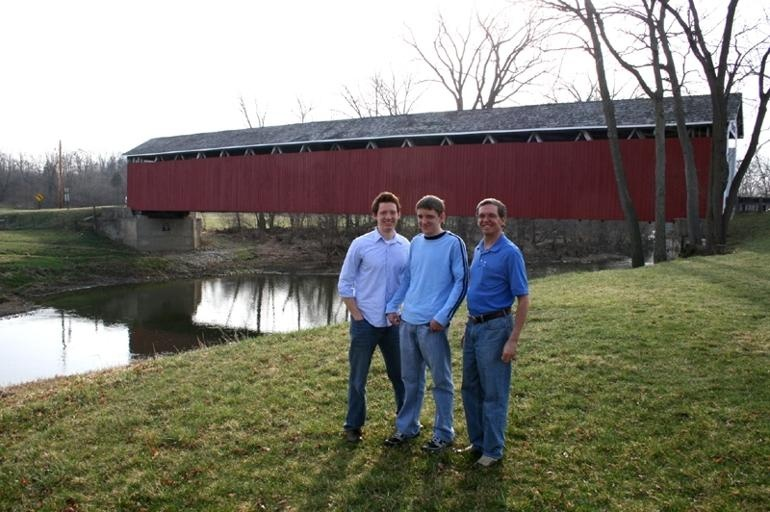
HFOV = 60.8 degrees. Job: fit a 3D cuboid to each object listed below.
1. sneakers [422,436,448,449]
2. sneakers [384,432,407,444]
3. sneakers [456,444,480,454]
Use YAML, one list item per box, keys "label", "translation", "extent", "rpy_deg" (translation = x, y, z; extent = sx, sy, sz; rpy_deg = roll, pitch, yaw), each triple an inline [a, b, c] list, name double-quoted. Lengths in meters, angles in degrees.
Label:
- label: "sneakers"
  translation: [0.707, 2.628, 9.228]
  extent: [0.344, 0.163, 0.144]
  rpy_deg: [3, -1, 2]
- label: "sneakers"
  translation: [0.158, 2.609, 9.423]
  extent: [0.313, 0.139, 0.138]
  rpy_deg: [3, 1, -3]
- label: "sneakers"
  translation: [1.180, 2.717, 9.165]
  extent: [0.201, 0.069, 0.149]
  rpy_deg: [-5, -3, 37]
